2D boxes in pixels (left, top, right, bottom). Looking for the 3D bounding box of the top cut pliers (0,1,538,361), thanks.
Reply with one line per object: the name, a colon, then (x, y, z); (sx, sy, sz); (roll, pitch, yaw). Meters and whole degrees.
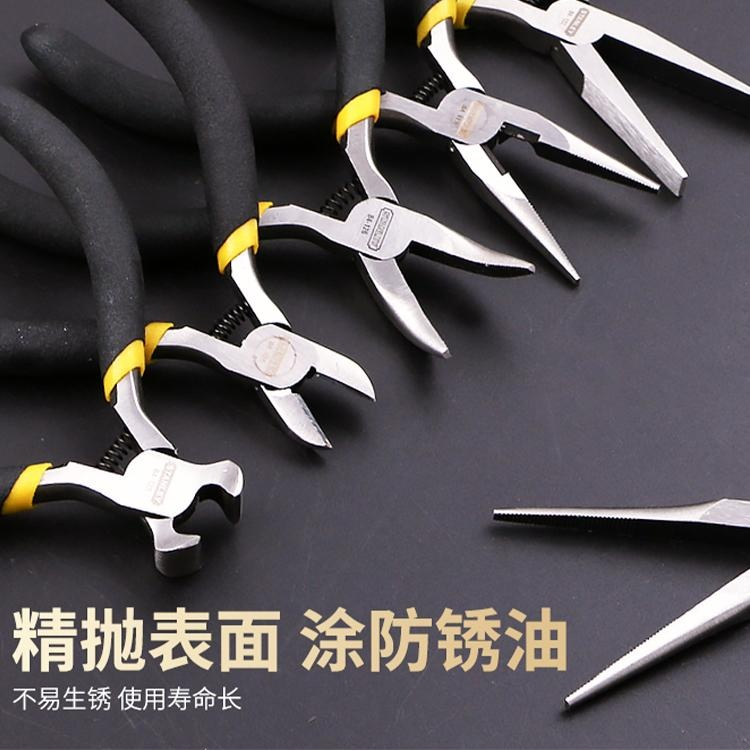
top cut pliers: (-0.182, -0.176, 1.024); (0.674, 0.039, 0.237); (18, 73, 9)
